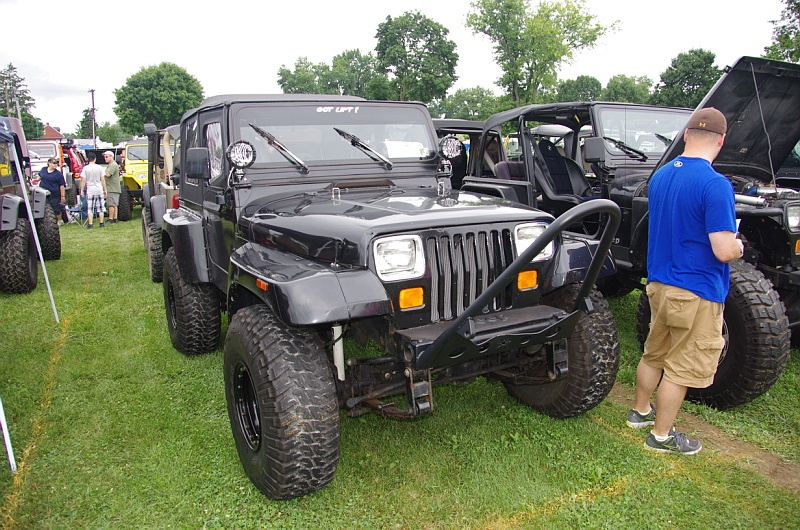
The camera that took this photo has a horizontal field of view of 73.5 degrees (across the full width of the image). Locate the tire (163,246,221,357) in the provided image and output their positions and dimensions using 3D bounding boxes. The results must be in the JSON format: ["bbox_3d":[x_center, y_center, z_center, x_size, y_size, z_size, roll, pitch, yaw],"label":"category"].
[{"bbox_3d":[-2.158,0.372,5.618,0.361,1.035,1.007,-5,14,-36],"label":"tire"}]

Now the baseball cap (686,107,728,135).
[{"bbox_3d":[2.481,-1.159,4.343,0.276,0.202,0.137,7,16,27],"label":"baseball cap"}]

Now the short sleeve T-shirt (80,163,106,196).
[{"bbox_3d":[-7.855,-2.169,13.648,0.605,0.819,0.291,-7,12,-43],"label":"short sleeve T-shirt"}]

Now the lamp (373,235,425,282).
[{"bbox_3d":[-0.019,-0.065,3.905,0.352,0.312,0.111,-5,12,-11],"label":"lamp"}]

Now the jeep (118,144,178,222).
[{"bbox_3d":[-7.812,-2.677,16.949,2.074,2.442,3.931,-8,18,-26],"label":"jeep"}]

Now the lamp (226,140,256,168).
[{"bbox_3d":[-1.391,-0.964,4.690,0.209,0.200,0.059,-20,16,-21],"label":"lamp"}]

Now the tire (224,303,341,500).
[{"bbox_3d":[-0.842,1.009,3.942,0.435,1.259,1.229,-4,14,-34],"label":"tire"}]

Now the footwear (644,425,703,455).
[{"bbox_3d":[2.313,1.496,4.591,0.462,0.216,0.196,2,-1,-4],"label":"footwear"}]

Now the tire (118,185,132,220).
[{"bbox_3d":[-7.939,-1.787,15.413,0.277,0.882,0.869,2,12,-10],"label":"tire"}]

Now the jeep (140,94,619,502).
[{"bbox_3d":[-0.818,-0.345,5.413,2.451,2.338,5.227,-6,14,-30],"label":"jeep"}]

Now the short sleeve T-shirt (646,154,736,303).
[{"bbox_3d":[2.445,-0.336,4.526,0.570,1.125,0.956,-7,16,-10],"label":"short sleeve T-shirt"}]

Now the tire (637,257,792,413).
[{"bbox_3d":[3.137,0.719,5.309,0.448,1.293,1.288,2,5,-13],"label":"tire"}]

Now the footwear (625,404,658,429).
[{"bbox_3d":[2.189,1.366,4.825,0.308,0.143,0.117,-1,3,-27],"label":"footwear"}]

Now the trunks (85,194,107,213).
[{"bbox_3d":[-7.913,-1.614,13.913,0.332,0.612,0.542,-5,-2,43],"label":"trunks"}]
